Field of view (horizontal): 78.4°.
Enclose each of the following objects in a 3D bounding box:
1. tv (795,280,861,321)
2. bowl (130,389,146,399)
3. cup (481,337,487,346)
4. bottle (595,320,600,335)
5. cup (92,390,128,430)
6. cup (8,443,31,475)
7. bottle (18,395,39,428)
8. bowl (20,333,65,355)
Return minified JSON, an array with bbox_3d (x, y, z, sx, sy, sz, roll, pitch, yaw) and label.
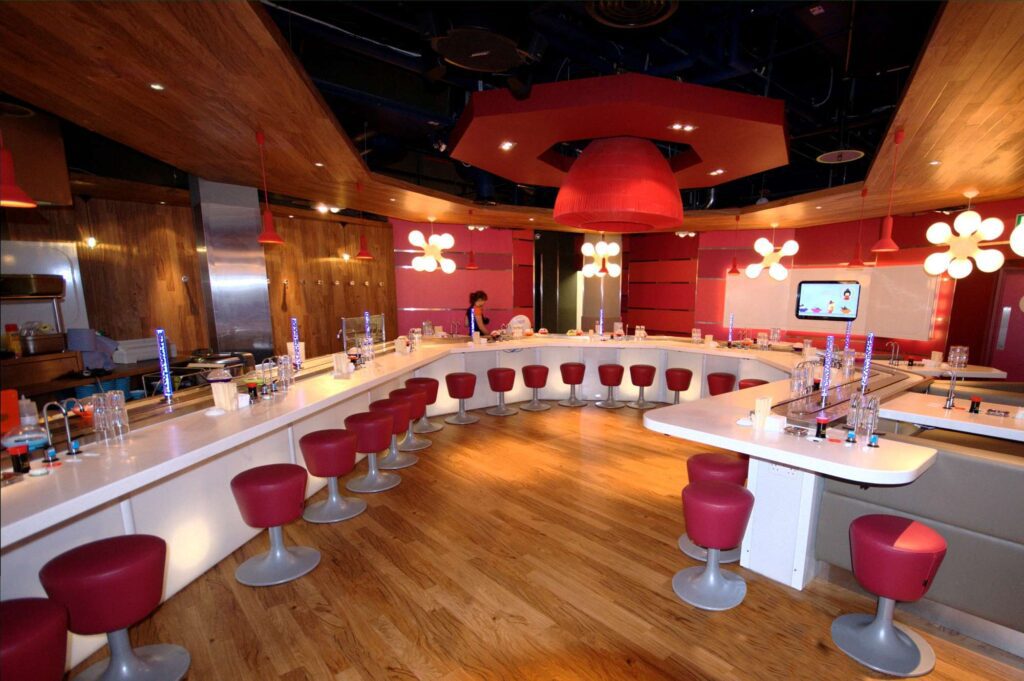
[{"bbox_3d":[5.265,-0.661,10.358,0.096,0.561,0.811,-2,5,-37],"label":"tv"},{"bbox_3d":[-3.955,0.578,6.664,0.132,0.061,0.098,0,5,-17],"label":"bowl"},{"bbox_3d":[-0.375,0.025,8.898,0.116,0.124,0.113,1,1,0],"label":"cup"},{"bbox_3d":[1.465,-0.207,10.626,0.107,0.307,0.320,2,10,8],"label":"bottle"},{"bbox_3d":[-3.190,0.583,5.015,0.225,0.345,0.148,-7,9,-34],"label":"cup"},{"bbox_3d":[-3.599,0.878,4.612,0.115,0.218,0.103,-8,9,-38],"label":"cup"},{"bbox_3d":[-3.695,0.558,4.815,0.104,0.222,0.169,-8,9,-38],"label":"bottle"},{"bbox_3d":[-4.960,0.013,6.678,0.225,0.134,0.289,2,3,24],"label":"bowl"}]
